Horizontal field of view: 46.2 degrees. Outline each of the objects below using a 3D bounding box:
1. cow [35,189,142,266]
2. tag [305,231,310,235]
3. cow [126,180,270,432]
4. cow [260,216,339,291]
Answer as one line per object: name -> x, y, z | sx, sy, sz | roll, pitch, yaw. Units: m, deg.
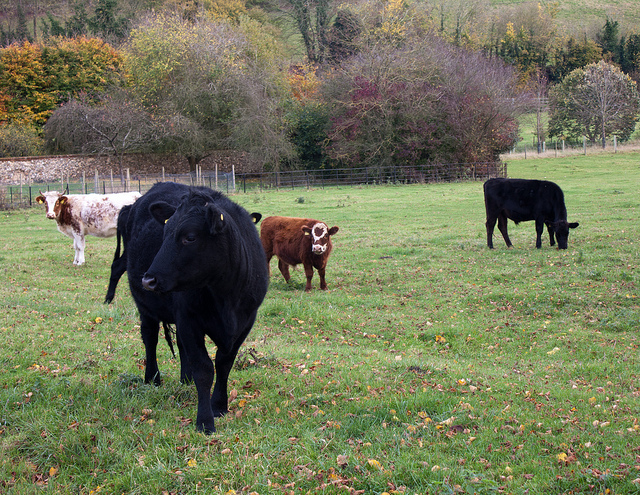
cow -> -7.405, -0.704, 24.878 | 3.437, 2.397, 0.968 | 0, 3, -2
tag -> -0.361, -0.430, 21.767 | 0.088, 0.102, 0.052 | 0, -3, 11
cow -> -2.516, 0.995, 14.352 | 2.489, 4.330, 2.028 | 8, 13, 40
cow -> -0.715, 0.118, 22.639 | 1.200, 2.203, 3.331 | -11, 13, -39
